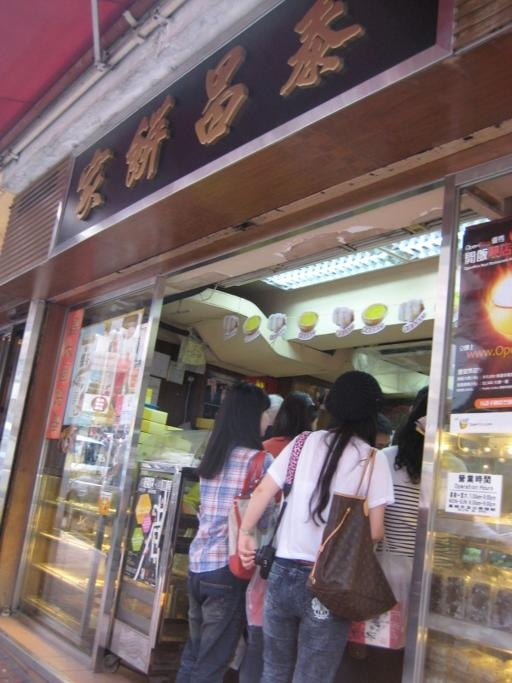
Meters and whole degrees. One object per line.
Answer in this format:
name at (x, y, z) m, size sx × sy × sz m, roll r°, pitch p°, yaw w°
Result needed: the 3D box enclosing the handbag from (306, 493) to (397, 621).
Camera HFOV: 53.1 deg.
handbag at (0.272, 0.600, 1.421) m, size 0.225 × 0.323 × 0.112 m, roll 18°, pitch -18°, yaw -31°
